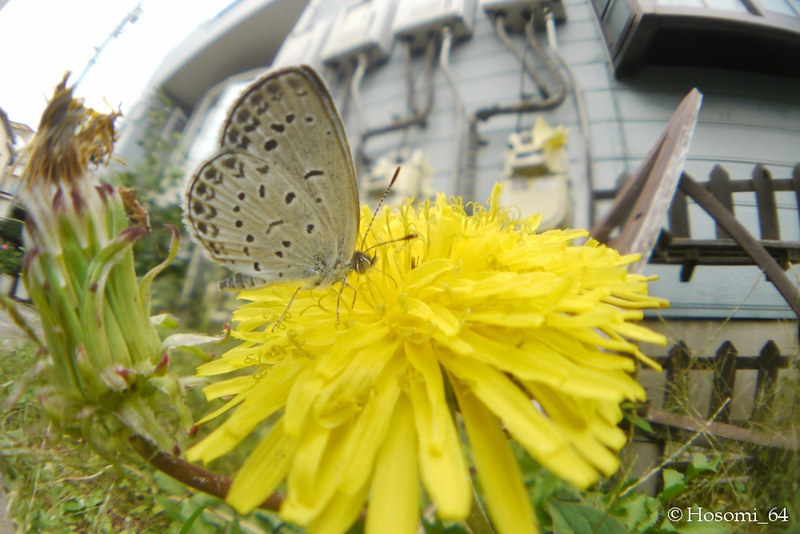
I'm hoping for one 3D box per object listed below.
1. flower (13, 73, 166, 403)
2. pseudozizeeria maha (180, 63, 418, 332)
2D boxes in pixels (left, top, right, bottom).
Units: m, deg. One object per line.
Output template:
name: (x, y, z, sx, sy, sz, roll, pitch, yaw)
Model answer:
flower: (-0.764, -0.076, 1.455, 0.396, 0.752, 0.128, 6, -5, 0)
pseudozizeeria maha: (-0.224, -0.147, 1.938, 0.688, 0.693, 0.813, 2, -8, 4)
